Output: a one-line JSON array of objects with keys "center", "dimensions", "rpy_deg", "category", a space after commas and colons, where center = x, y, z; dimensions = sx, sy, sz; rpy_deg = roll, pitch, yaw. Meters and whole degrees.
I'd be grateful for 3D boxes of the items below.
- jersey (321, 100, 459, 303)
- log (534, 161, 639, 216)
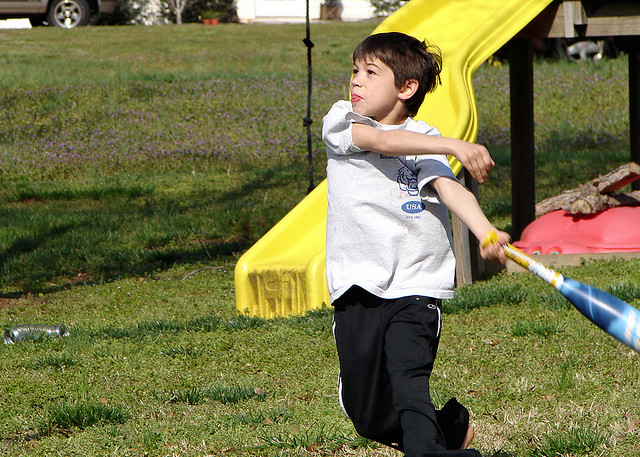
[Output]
[{"center": [0.553, 0.077, 13.202], "dimensions": [1.105, 1.876, 1.652], "rpy_deg": [17, 21, 2], "category": "jersey"}, {"center": [3.201, -0.501, 16.810], "dimensions": [1.121, 0.696, 1.097], "rpy_deg": [-1, 3, 3], "category": "log"}]
